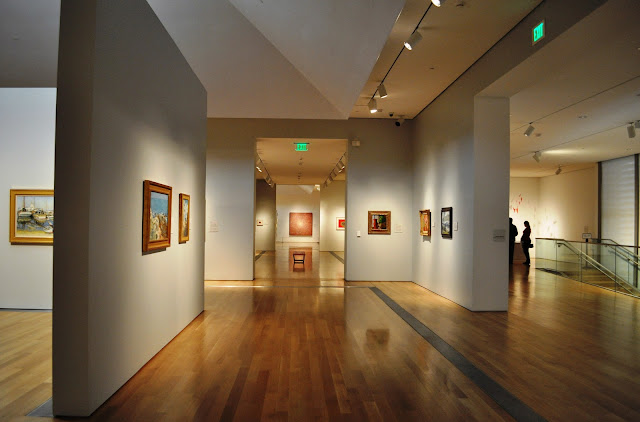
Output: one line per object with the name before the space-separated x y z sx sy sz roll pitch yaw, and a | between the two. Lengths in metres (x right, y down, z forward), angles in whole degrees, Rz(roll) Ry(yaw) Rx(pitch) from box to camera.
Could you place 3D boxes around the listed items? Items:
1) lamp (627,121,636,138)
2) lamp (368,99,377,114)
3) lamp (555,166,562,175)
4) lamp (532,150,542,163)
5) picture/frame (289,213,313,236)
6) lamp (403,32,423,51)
lamp | 8.116 -2.112 11.166 0.183 0.401 1.052 3 5 35
lamp | 1.337 -2.521 10.509 0.090 0.415 0.303 1 23 -6
lamp | 9.758 -1.627 17.508 0.075 0.484 0.314 11 -6 19
lamp | 7.702 -1.917 15.210 0.285 0.539 0.187 1 28 12
picture/frame | -1.261 0.864 29.198 1.403 1.492 0.146 0 3 1
lamp | 1.718 -3.162 7.940 0.182 0.298 0.185 38 11 -18
